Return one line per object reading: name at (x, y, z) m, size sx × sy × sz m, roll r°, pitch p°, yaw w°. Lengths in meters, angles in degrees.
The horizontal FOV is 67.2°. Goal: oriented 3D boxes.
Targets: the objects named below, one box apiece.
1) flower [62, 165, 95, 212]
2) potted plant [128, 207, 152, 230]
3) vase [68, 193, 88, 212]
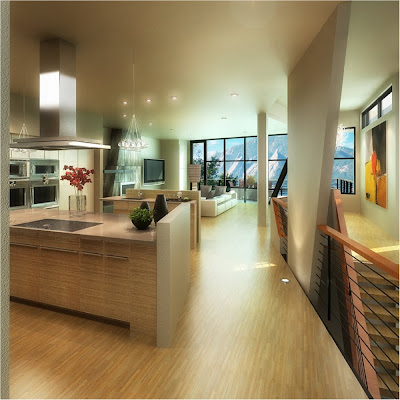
flower at (-1.525, -0.126, 3.754) m, size 0.316 × 0.624 × 0.336 m, roll 2°, pitch -4°, yaw -43°
potted plant at (-0.580, 0.181, 2.911) m, size 0.168 × 0.209 × 0.192 m, roll 0°, pitch -3°, yaw -4°
vase at (-1.513, 0.030, 3.776) m, size 0.178 × 0.224 × 0.193 m, roll 0°, pitch 3°, yaw -28°
